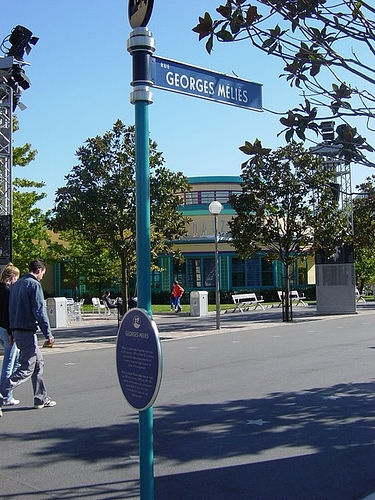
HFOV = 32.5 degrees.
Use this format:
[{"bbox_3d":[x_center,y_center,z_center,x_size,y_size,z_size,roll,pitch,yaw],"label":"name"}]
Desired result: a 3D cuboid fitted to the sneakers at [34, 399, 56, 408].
[{"bbox_3d":[-1.660,1.781,7.493,0.241,0.106,0.096,-3,1,-8],"label":"sneakers"}]
